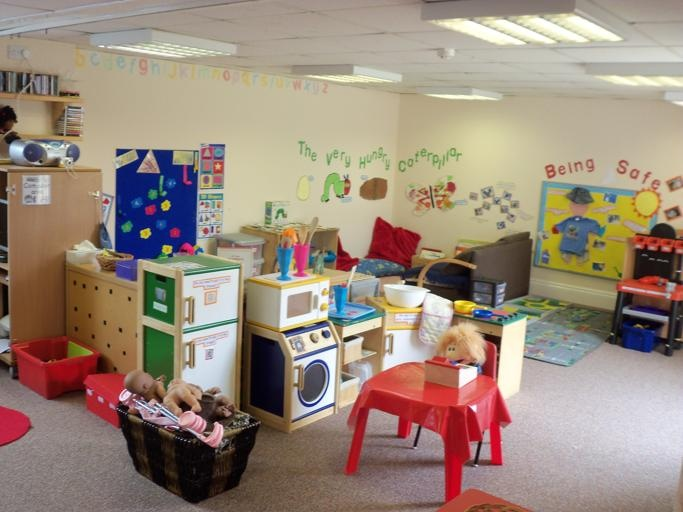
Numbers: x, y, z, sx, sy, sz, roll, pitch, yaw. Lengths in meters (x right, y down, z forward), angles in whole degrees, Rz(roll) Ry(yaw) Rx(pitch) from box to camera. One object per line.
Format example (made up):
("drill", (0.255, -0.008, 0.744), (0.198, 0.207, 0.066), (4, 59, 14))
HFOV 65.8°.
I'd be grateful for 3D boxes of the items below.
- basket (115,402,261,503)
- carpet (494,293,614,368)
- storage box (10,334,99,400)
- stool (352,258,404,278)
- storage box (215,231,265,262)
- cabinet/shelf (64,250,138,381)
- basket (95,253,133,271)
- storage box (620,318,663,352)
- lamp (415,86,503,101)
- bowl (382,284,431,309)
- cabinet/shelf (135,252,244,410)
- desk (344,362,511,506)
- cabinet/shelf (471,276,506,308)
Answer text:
("basket", (-1.017, 1.231, 3.419), (0.837, 0.330, 0.583), (9, 8, 38))
("carpet", (2.663, 0.920, 6.779), (1.022, 1.354, 0.022), (1, 48, 23))
("storage box", (-2.456, 0.959, 4.600), (0.727, 0.243, 0.532), (8, 8, 41))
("stool", (0.630, 0.204, 8.312), (0.747, 0.189, 0.981), (3, 10, 6))
("storage box", (-1.290, -0.133, 6.731), (0.486, 0.231, 0.451), (-3, 11, -34))
("cabinet/shelf", (-2.053, 0.518, 4.540), (1.133, 0.837, 0.403), (20, 24, 33))
("basket", (-2.022, 0.045, 4.626), (0.251, 0.081, 0.235), (0, 4, -34))
("storage box", (3.605, 0.948, 6.371), (0.442, 0.236, 0.464), (6, 5, 34))
("lamp", (1.580, -2.238, 7.272), (0.700, 0.145, 0.986), (9, 12, 35))
("bowl", (0.568, 0.353, 4.747), (0.273, 0.095, 0.304), (0, 8, -45))
("cabinet/shelf", (-1.179, 0.669, 3.978), (0.612, 1.049, 0.653), (4, -2, 29))
("desk", (0.568, 1.135, 3.581), (0.850, 0.733, 0.673), (9, 13, 31))
("cabinet/shelf", (1.635, 0.413, 5.819), (0.346, 0.342, 0.436), (-2, 7, -36))
